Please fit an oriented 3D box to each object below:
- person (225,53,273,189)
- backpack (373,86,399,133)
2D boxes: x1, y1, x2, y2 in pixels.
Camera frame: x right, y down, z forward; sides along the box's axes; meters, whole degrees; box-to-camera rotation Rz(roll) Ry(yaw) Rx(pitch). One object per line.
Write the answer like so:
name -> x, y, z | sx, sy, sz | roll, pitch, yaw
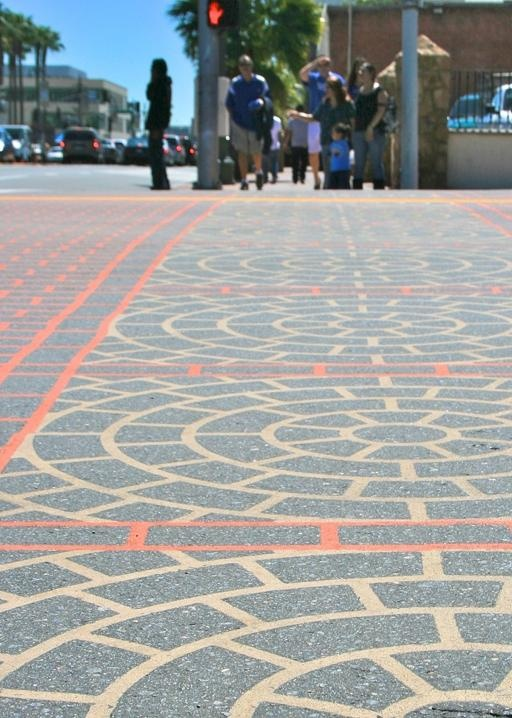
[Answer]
person -> -0.078, -3.406, 16.152 | 0.643, 1.915, 0.907 | 0, 11, 1
backpack -> 1.769, -3.279, 14.760 | 0.253, 0.433, 0.312 | 2, 5, -10
